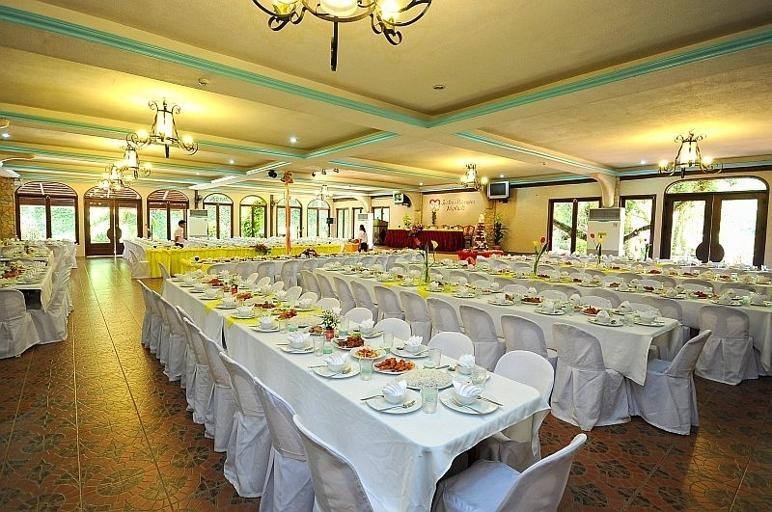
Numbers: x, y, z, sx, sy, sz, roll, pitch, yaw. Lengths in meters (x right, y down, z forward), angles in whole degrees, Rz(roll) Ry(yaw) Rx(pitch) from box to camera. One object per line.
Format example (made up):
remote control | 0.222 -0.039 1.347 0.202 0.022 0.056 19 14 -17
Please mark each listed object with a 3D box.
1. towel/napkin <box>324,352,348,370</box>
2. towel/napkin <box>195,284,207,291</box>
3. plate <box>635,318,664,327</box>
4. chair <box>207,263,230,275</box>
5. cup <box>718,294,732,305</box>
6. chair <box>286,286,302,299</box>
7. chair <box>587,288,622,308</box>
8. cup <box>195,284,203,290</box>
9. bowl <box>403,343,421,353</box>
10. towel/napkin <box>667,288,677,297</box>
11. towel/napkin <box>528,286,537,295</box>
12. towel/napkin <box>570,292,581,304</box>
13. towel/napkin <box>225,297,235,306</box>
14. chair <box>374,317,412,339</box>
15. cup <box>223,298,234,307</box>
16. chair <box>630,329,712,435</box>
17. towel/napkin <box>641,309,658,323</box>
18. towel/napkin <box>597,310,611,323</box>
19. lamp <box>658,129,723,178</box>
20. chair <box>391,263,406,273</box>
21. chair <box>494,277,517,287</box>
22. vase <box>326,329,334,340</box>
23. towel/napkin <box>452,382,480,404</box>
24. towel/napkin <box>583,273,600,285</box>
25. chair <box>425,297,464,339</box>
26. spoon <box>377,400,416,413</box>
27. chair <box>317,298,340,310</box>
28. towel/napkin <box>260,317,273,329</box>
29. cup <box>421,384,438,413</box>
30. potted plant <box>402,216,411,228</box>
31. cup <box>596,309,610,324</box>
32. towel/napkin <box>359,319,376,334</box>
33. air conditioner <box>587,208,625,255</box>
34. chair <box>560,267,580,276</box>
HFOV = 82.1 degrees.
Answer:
towel/napkin | -0.467 0.938 4.029 0.158 0.087 0.165 -1 3 -30
towel/napkin | -2.692 0.460 6.438 0.091 0.062 0.088 1 -2 -36
plate | 3.144 0.784 5.239 0.376 0.058 0.174 -1 4 -18
chair | -3.556 0.254 9.333 0.427 0.351 0.382 4 1 -4
cup | 4.746 0.609 6.252 0.169 0.087 0.164 -19 10 4
chair | -1.310 0.522 6.335 0.178 0.196 0.186 2 -3 -6
chair | 3.426 0.653 6.935 0.286 0.384 0.316 -2 -12 35
cup | -2.712 0.454 6.440 0.082 0.053 0.083 -2 -5 0
bowl | 0.239 0.882 4.310 0.111 0.054 0.111 -2 1 0
towel/napkin | 4.259 0.536 6.602 0.128 0.067 0.127 -4 23 46
towel/napkin | 2.104 0.503 6.435 0.107 0.111 0.086 -13 -3 -36
towel/napkin | 2.597 0.582 6.081 0.164 0.115 0.139 19 7 22
towel/napkin | -1.965 0.584 5.575 0.091 0.063 0.097 -1 -4 -4
chair | 0.070 0.746 4.801 0.296 0.331 0.256 1 -5 7
cup | -1.986 0.587 5.551 0.113 0.082 0.106 -3 -19 -1
chair | 3.171 1.372 5.009 0.708 1.165 0.314 2 6 28
towel/napkin | 3.123 0.705 5.262 0.149 0.082 0.144 -2 1 -32
towel/napkin | 2.573 0.715 5.286 0.134 0.094 0.146 -3 8 -30
lamp | 6.715 -2.301 9.749 0.995 1.062 1.003 2 2 32
chair | 0.235 0.237 8.692 0.181 0.184 0.223 0 -24 -5
chair | 2.051 0.443 7.736 0.236 0.159 0.223 0 5 -2
vase | -0.568 0.788 4.477 0.091 0.088 0.085 1 -5 -2
towel/napkin | 0.677 1.114 3.701 0.167 0.088 0.213 2 -1 -17
towel/napkin | 3.492 0.406 7.626 0.298 0.098 0.284 -4 12 -36
chair | 0.792 0.803 6.207 0.470 0.667 0.516 7 15 33
spoon | 0.048 1.220 3.583 0.392 0.053 0.089 -2 27 -10
chair | -0.744 0.608 5.690 0.196 0.224 0.179 2 -1 2
towel/napkin | -1.306 0.722 4.828 0.119 0.088 0.125 0 1 -9
cup | 0.353 1.152 3.596 0.138 0.239 0.082 -1 5 -10
potted plant | 0.953 -1.546 20.192 0.239 0.553 0.710 -3 5 -23
cup | 2.563 0.717 5.298 0.156 0.108 0.169 -2 9 0
towel/napkin | -0.213 0.757 4.790 0.128 0.077 0.137 0 -1 -7
air conditioner | 6.463 -0.735 13.045 0.885 1.387 0.511 4 14 39
chair | 3.816 0.297 9.226 0.279 0.187 0.278 1 9 18
